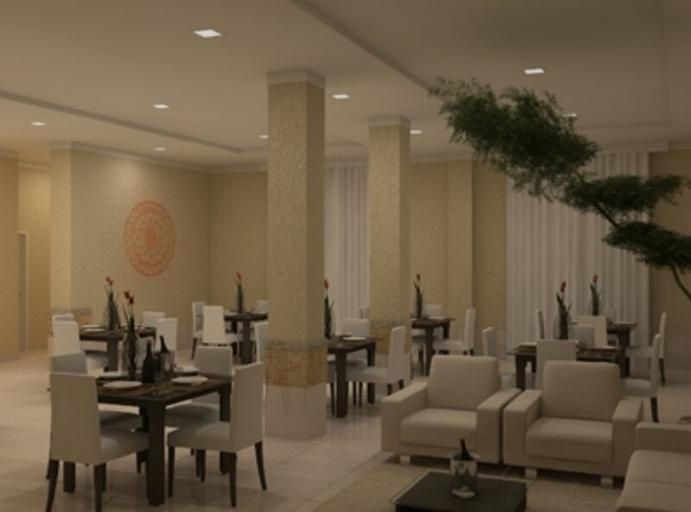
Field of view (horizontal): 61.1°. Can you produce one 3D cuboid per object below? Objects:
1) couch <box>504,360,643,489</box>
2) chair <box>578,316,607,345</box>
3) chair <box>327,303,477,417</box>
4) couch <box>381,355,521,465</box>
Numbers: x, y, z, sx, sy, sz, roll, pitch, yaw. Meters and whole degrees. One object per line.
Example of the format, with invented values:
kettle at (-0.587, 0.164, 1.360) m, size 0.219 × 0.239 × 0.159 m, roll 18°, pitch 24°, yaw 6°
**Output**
couch at (2.141, 1.594, 5.523) m, size 1.359 × 1.053 × 1.022 m, roll -3°, pitch -3°, yaw 32°
chair at (3.736, 1.130, 8.859) m, size 0.396 × 0.411 × 0.373 m, roll 1°, pitch 2°, yaw 21°
chair at (0.337, 1.440, 8.012) m, size 1.049 × 1.536 × 1.101 m, roll 0°, pitch -2°, yaw 17°
couch at (1.013, 1.546, 5.830) m, size 1.154 × 1.004 × 1.101 m, roll -2°, pitch -4°, yaw 30°
